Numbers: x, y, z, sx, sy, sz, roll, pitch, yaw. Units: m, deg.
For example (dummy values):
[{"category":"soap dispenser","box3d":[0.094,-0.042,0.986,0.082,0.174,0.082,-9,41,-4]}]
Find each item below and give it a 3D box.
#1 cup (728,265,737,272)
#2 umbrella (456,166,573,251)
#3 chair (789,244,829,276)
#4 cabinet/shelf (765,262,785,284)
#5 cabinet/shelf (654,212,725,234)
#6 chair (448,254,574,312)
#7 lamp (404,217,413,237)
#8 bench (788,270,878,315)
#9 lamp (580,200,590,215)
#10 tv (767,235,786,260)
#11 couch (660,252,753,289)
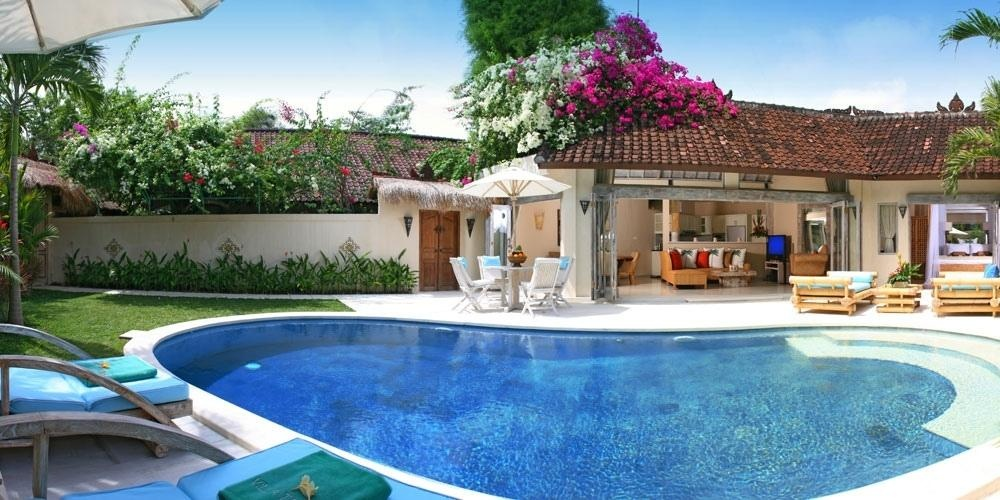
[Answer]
[{"category":"cup","box3d":[9.115,0.721,25.916,0.275,0.247,0.270,-1,5,0]},{"category":"umbrella","box3d":[0.631,-1.135,22.264,3.234,2.634,3.297,-2,0,34]},{"category":"chair","box3d":[11.816,0.387,25.338,1.284,1.225,1.298,-1,-3,25]},{"category":"cabinet/shelf","box3d":[11.339,0.916,27.207,0.335,0.639,0.914,1,2,5]},{"category":"cabinet/shelf","box3d":[8.586,-1.206,29.843,3.087,0.984,1.369,-3,2,-31]},{"category":"chair","box3d":[0.478,1.072,22.023,3.707,1.777,2.810,-2,2,19]},{"category":"lamp","box3d":[-3.566,-0.916,25.416,0.313,0.752,0.159,-3,2,-11]},{"category":"bench","box3d":[10.794,1.384,21.345,2.814,1.237,1.386,-3,2,-31]},{"category":"lamp","box3d":[2.935,-1.531,22.996,0.403,0.496,0.418,2,9,10]},{"category":"tv","box3d":[11.501,-0.131,27.436,0.372,0.931,0.982,6,-7,-15]},{"category":"couch","box3d":[8.046,0.681,26.418,2.909,1.468,2.080,-2,2,-2]}]
